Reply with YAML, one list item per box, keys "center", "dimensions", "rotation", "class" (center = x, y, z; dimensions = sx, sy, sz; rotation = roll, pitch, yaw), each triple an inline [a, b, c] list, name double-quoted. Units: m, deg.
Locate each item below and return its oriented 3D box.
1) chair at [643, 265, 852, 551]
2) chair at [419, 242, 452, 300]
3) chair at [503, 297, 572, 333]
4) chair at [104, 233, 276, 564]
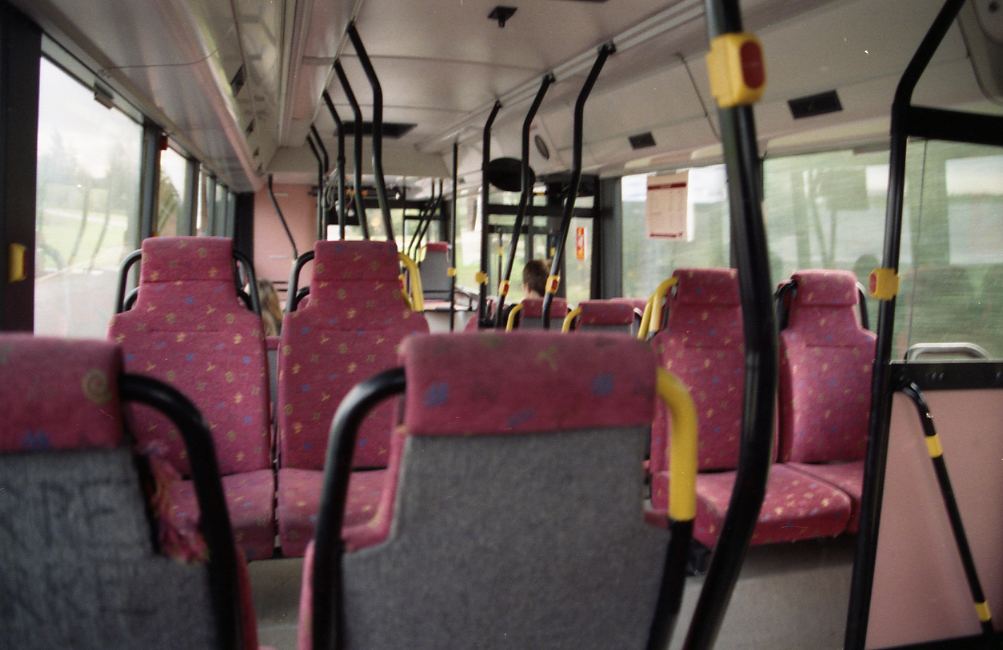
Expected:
- center: [1.071, 0.308, 3.130]
  dimensions: [0.726, 1.142, 1.027]
  rotation: [-4, 1, -2]
  class: "chair"
- center: [-0.960, -0.702, 9.324]
  dimensions: [0.583, 0.760, 0.574]
  rotation: [-2, 0, 36]
  class: "chair"
- center: [0.286, -0.090, 5.520]
  dimensions: [0.290, 0.415, 0.397]
  rotation: [2, 5, -12]
  class: "chair"
- center: [-1.297, 0.259, 2.802]
  dimensions: [0.820, 1.260, 0.980]
  rotation: [-2, 1, -35]
  class: "chair"
